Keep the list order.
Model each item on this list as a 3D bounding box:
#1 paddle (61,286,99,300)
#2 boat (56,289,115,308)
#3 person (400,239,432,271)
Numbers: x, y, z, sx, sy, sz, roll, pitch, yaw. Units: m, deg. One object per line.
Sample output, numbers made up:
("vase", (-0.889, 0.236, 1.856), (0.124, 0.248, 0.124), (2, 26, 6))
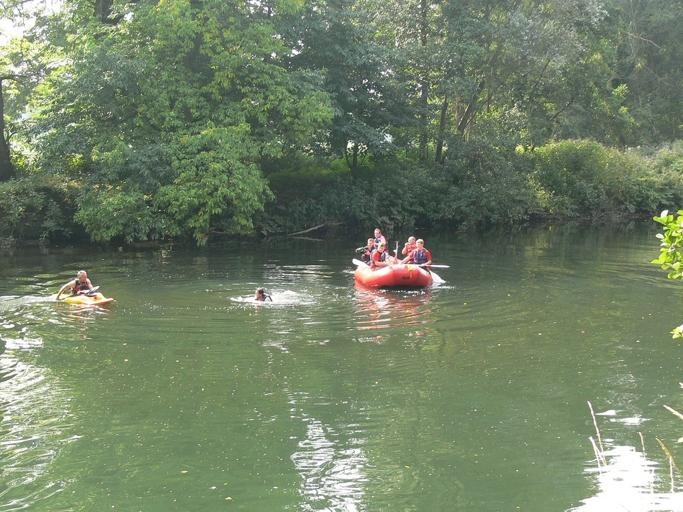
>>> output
("paddle", (-7.412, 1.044, 24.300), (0.729, 0.201, 0.431), (3, 12, -16))
("boat", (-7.315, 1.237, 24.144), (1.677, 0.421, 0.564), (11, 12, 31))
("person", (2.580, -0.117, 28.308), (1.015, 1.536, 0.899), (-2, -8, 25))
